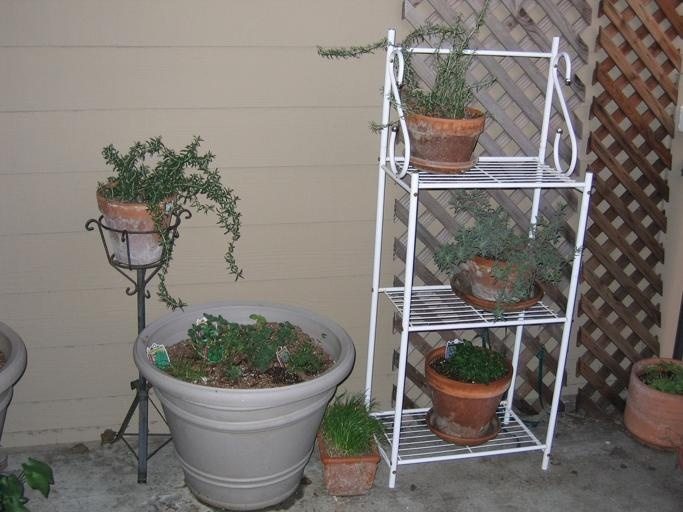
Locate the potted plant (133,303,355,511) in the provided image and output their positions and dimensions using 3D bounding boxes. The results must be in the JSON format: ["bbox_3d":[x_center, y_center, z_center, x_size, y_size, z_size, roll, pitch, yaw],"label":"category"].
[{"bbox_3d":[-0.407,0.517,2.737,0.861,0.671,0.841,1,20,-5],"label":"potted plant"}]

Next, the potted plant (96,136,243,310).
[{"bbox_3d":[-0.762,-0.169,2.719,0.361,0.540,0.399,-18,63,-31],"label":"potted plant"}]

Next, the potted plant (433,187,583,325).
[{"bbox_3d":[0.722,0.015,2.735,0.527,0.402,0.490,11,-1,44],"label":"potted plant"}]

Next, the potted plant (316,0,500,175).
[{"bbox_3d":[0.313,-0.724,2.634,0.762,0.637,0.632,-2,22,-6],"label":"potted plant"}]

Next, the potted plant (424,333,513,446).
[{"bbox_3d":[0.543,0.569,2.949,0.401,0.428,0.422,-1,14,-1],"label":"potted plant"}]

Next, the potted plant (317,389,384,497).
[{"bbox_3d":[0.002,0.814,2.827,0.311,0.456,0.430,1,7,-5],"label":"potted plant"}]
